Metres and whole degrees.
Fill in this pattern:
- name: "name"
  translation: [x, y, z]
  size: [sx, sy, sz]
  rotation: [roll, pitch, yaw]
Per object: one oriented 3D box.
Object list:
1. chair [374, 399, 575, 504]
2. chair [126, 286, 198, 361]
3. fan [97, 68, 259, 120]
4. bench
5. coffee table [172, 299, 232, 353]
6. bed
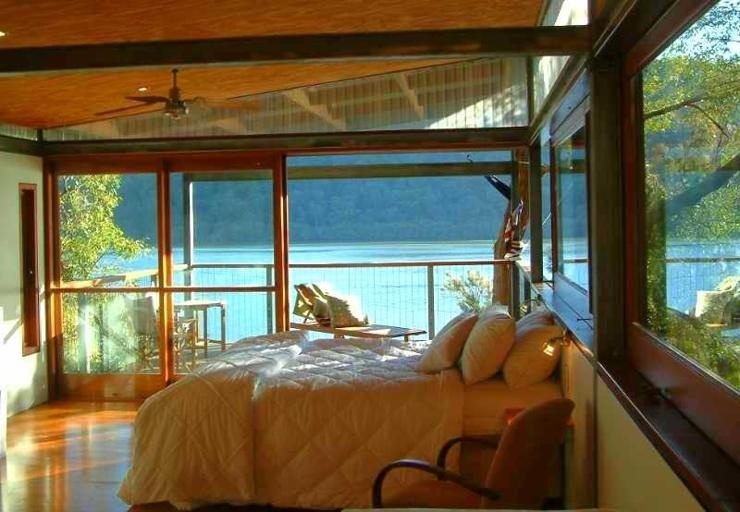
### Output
- name: "chair"
  translation: [0.603, 1.183, 3.799]
  size: [0.754, 0.646, 0.995]
  rotation: [-5, -1, -41]
- name: "chair"
  translation: [-2.348, 0.754, 7.290]
  size: [0.774, 0.992, 0.777]
  rotation: [0, -2, -7]
- name: "fan"
  translation: [-1.839, -1.425, 5.921]
  size: [0.863, 0.320, 0.853]
  rotation: [-7, 13, -39]
- name: "bench"
  translation: [-0.203, 0.606, 7.401]
  size: [1.472, 0.583, 0.704]
  rotation: [1, 2, 43]
- name: "coffee table"
  translation: [-1.908, 0.794, 7.262]
  size: [0.549, 0.533, 0.554]
  rotation: [-1, -5, 3]
- name: "bed"
  translation: [-0.483, 1.233, 4.776]
  size: [2.027, 0.679, 1.715]
  rotation: [1, -4, 7]
